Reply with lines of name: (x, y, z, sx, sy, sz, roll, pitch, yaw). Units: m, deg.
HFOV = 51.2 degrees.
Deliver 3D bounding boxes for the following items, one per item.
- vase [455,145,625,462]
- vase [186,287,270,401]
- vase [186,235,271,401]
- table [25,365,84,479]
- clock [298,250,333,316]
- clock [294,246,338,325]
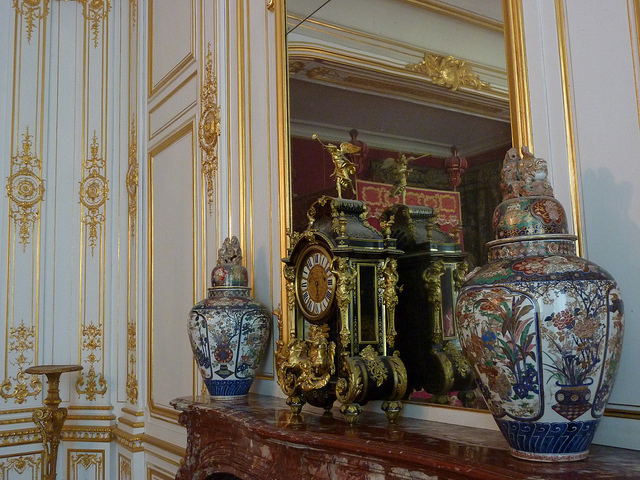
vase: (0.513, 0.141, 1.583, 0.368, 0.751, 0.148, -4, -6, 28)
vase: (-0.331, 0.405, 2.558, 0.320, 0.496, 0.333, -9, -13, 40)
vase: (-0.343, 0.290, 2.575, 0.313, 0.622, 0.281, 0, -5, -7)
table: (-1.540, 1.050, 3.888, 0.285, 0.638, 0.411, 0, -5, -11)
clock: (-0.013, 0.147, 2.257, 0.013, 0.239, 0.212, -1, -5, 44)
clock: (-0.008, 0.147, 2.237, 0.033, 0.299, 0.226, 2, -4, -26)
